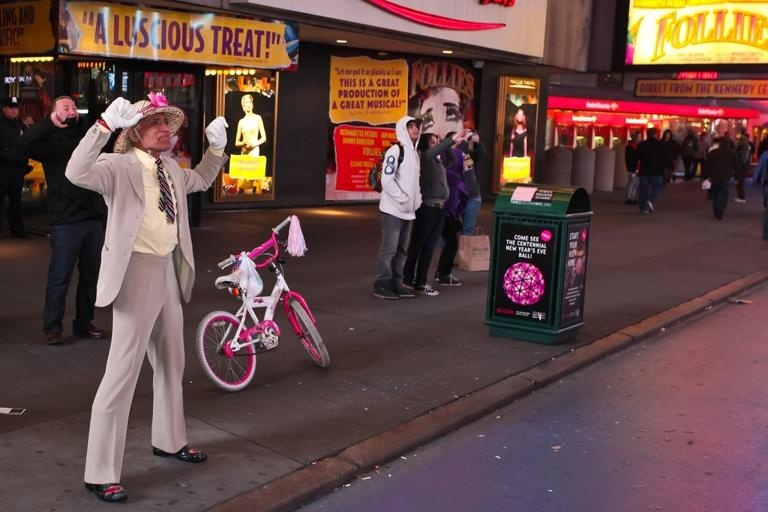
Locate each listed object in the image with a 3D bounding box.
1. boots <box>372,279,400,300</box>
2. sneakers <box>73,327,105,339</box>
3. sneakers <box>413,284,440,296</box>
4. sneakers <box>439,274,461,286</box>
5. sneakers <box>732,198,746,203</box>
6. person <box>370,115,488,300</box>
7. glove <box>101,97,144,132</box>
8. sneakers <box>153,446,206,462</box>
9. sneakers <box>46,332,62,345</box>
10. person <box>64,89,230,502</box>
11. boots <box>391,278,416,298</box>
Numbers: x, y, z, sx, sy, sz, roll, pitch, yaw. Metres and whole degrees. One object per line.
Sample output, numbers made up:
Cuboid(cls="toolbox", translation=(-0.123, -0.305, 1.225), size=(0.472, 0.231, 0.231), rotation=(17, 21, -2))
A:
Cuboid(cls="boots", translation=(0.020, 0.535, 9.536), size=(0.472, 0.341, 0.195), rotation=(2, 4, -5))
Cuboid(cls="sneakers", translation=(-3.342, 0.902, 7.282), size=(0.282, 0.117, 0.151), rotation=(-2, 0, 5))
Cuboid(cls="sneakers", translation=(0.675, 0.562, 9.942), size=(0.450, 0.185, 0.155), rotation=(4, 8, 0))
Cuboid(cls="sneakers", translation=(1.108, 0.427, 10.681), size=(0.327, 0.144, 0.170), rotation=(-1, 7, 0))
Cuboid(cls="sneakers", translation=(13.926, -2.143, 25.073), size=(0.178, 0.230, 0.544), rotation=(-2, 15, 2))
Cuboid(cls="person", translation=(0.510, -0.721, 9.743), size=(0.876, 2.690, 1.440), rotation=(12, 16, 42))
Cuboid(cls="glove", translation=(-1.785, -0.966, 4.412), size=(0.258, 0.206, 0.118), rotation=(-42, 16, -25))
Cuboid(cls="sneakers", translation=(-1.576, 1.537, 5.045), size=(0.417, 0.171, 0.156), rotation=(1, 2, -6))
Cuboid(cls="sneakers", translation=(-3.630, 0.907, 7.062), size=(0.160, 0.148, 0.134), rotation=(-6, 14, -30))
Cuboid(cls="person", translation=(-1.713, 0.236, 4.717), size=(0.559, 2.789, 1.234), rotation=(7, 13, 28))
Cuboid(cls="boots", translation=(0.284, 0.511, 9.707), size=(0.495, 0.358, 0.178), rotation=(-1, 8, -2))
